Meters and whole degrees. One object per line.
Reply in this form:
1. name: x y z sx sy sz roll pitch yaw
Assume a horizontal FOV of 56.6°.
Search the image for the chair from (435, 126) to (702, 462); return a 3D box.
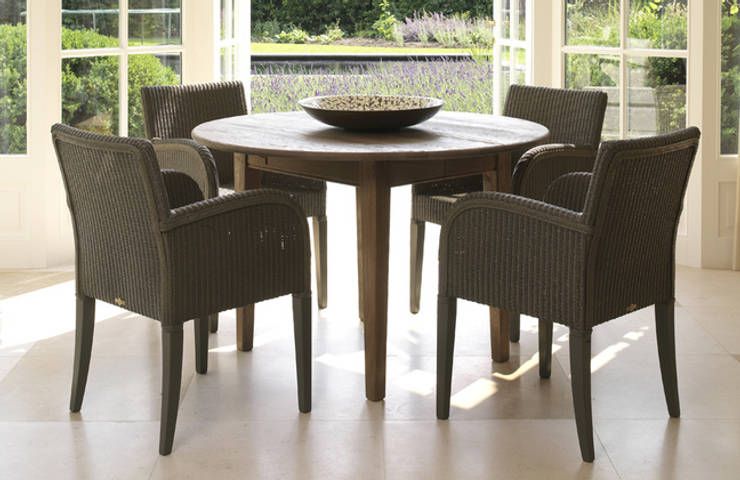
1. chair: 0.767 0.138 2.743 0.859 1.032 0.883 -4 8 -23
